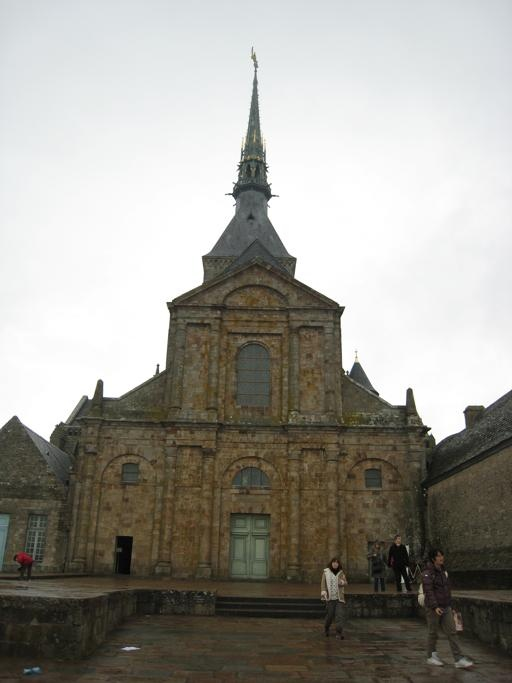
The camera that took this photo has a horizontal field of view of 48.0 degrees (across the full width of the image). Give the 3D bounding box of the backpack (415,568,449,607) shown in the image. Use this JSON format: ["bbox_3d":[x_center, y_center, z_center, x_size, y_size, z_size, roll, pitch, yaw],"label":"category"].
[{"bbox_3d":[2.430,3.312,7.785,0.359,0.514,0.276,-2,-23,5],"label":"backpack"}]
